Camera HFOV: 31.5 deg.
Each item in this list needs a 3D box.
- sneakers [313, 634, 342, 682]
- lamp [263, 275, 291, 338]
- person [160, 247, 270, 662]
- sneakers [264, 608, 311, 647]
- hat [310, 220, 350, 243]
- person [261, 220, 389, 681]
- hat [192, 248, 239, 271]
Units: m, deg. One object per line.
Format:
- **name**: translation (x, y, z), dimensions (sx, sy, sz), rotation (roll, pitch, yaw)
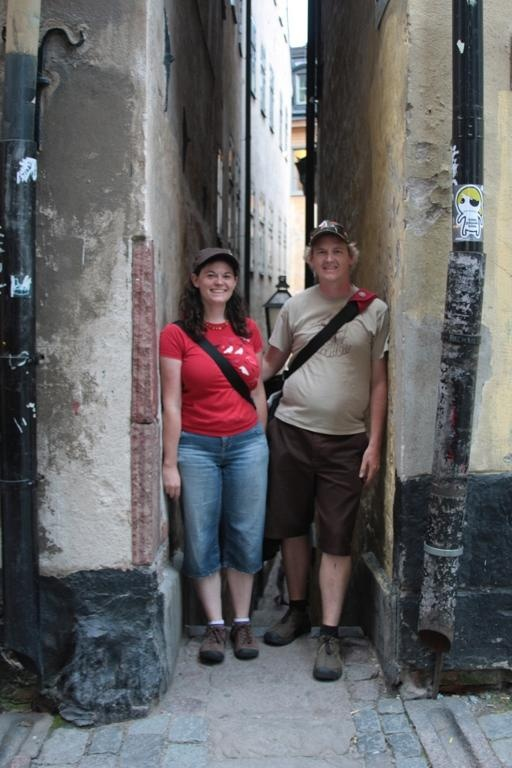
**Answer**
- **sneakers**: translation (0.291, 1.111, 3.721), dimensions (0.118, 0.127, 0.260), rotation (1, 8, 5)
- **lamp**: translation (0.212, -0.625, 7.783), dimensions (0.295, 0.593, 0.281), rotation (1, 8, -9)
- **person**: translation (-0.166, 0.297, 3.813), dimensions (0.491, 1.717, 0.379), rotation (-2, 8, -11)
- **sneakers**: translation (0.147, 1.080, 4.024), dimensions (0.089, 0.113, 0.268), rotation (-6, -6, 30)
- **hat**: translation (0.308, -0.659, 3.917), dimensions (0.157, 0.103, 0.313), rotation (0, 8, 2)
- **person**: translation (0.235, 0.237, 3.868), dimensions (0.583, 1.836, 0.457), rotation (6, 10, 37)
- **hat**: translation (-0.168, -0.514, 3.748), dimensions (0.183, 0.093, 0.162), rotation (-1, 8, -4)
